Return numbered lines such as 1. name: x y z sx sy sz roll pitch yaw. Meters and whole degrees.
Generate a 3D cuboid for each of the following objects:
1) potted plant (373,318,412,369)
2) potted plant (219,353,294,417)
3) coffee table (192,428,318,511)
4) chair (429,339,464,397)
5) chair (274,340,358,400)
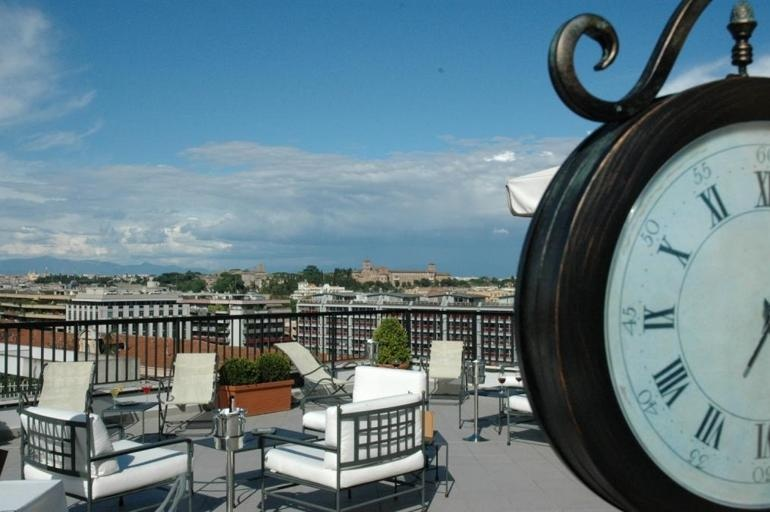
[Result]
1. potted plant: 0.071 1.004 8.723 0.386 0.496 0.408 -2 -9 14
2. potted plant: -1.286 1.276 7.473 0.383 0.550 0.812 -2 -5 36
3. coffee table: -0.916 1.392 5.012 0.764 0.452 0.760 1 2 25
4. chair: 0.630 1.165 7.623 0.470 0.528 0.465 -5 10 -3
5. chair: -0.694 1.225 7.486 0.577 0.337 0.312 -10 7 -8
